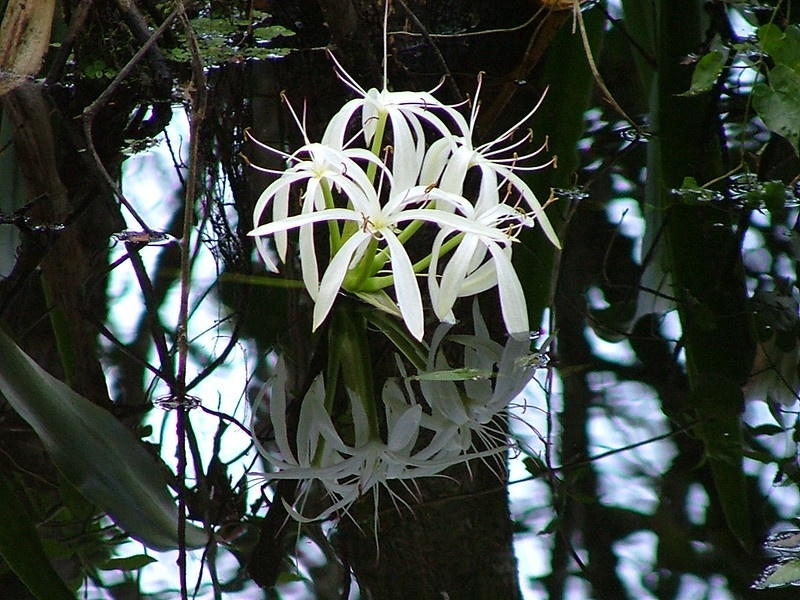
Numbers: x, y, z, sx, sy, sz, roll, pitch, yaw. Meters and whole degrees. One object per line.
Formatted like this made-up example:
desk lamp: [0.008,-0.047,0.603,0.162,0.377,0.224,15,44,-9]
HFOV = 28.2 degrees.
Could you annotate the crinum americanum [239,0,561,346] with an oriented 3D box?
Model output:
crinum americanum: [-0.009,-0.218,2.625,0.503,0.482,0.645,-9,24,5]
